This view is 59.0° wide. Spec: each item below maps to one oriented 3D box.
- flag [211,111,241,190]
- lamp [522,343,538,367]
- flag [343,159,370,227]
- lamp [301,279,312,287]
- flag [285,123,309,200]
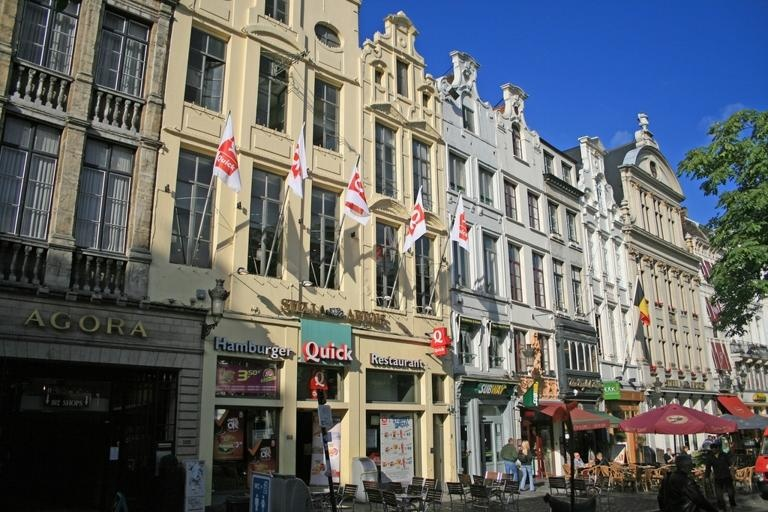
[{"bbox_3d":[-5.676,-4.058,25.162,0.910,3.517,1.496,3,-23,-10],"label":"flag"},{"bbox_3d":[7.631,5.070,35.373,0.893,1.197,1.016,5,-19,-11],"label":"lamp"},{"bbox_3d":[-1.130,-2.827,28.212,0.986,3.401,1.867,0,-23,-5],"label":"flag"},{"bbox_3d":[-2.962,1.051,27.076,0.514,0.301,0.209,15,-28,-35],"label":"lamp"},{"bbox_3d":[-3.393,-4.036,27.027,0.670,3.786,1.721,2,-23,-7],"label":"flag"}]
